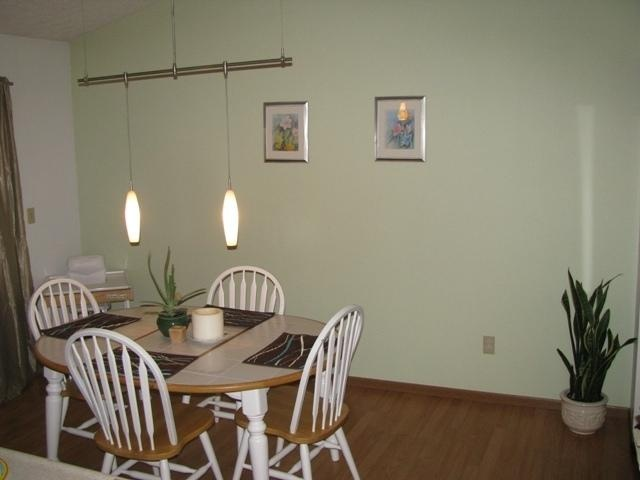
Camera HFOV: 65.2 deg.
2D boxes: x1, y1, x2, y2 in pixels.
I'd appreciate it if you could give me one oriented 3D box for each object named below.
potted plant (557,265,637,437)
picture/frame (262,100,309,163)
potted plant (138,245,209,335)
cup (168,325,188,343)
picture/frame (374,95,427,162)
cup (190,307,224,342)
[{"bbox_3d":[1.978,0.808,3.627,0.483,1.126,0.542,6,15,26],"label":"potted plant"},{"bbox_3d":[-0.280,-0.939,4.273,0.458,0.607,0.043,2,5,20],"label":"picture/frame"},{"bbox_3d":[-0.903,0.347,3.099,0.338,0.519,0.359,-3,2,-42],"label":"potted plant"},{"bbox_3d":[-0.856,0.570,3.001,0.087,0.099,0.094,0,-1,0],"label":"cup"},{"bbox_3d":[0.660,-0.911,4.017,0.466,0.619,0.039,0,2,17],"label":"picture/frame"},{"bbox_3d":[-0.684,0.515,3.041,0.168,0.172,0.182,0,1,0],"label":"cup"}]
